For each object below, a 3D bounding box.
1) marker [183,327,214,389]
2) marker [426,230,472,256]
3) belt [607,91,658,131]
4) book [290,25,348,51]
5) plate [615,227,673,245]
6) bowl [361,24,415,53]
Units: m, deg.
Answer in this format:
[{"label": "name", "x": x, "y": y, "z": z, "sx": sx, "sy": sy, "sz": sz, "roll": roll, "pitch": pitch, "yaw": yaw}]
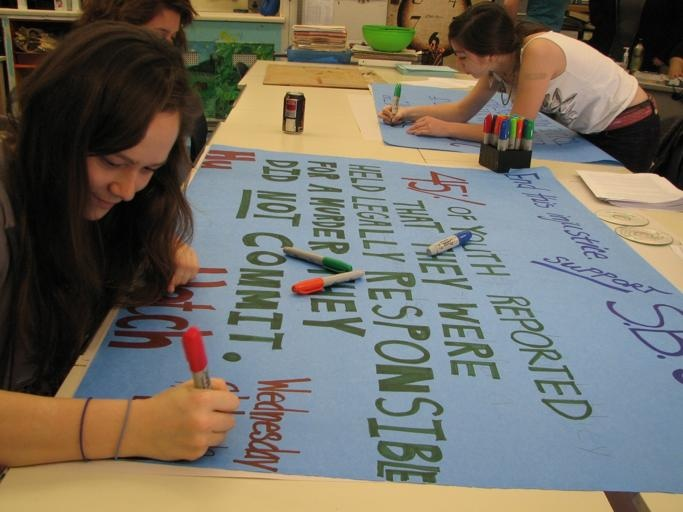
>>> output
[{"label": "marker", "x": -0.203, "y": 0.148, "z": 0.725, "sx": 0.046, "sy": 0.127, "sz": 0.027, "roll": -24, "pitch": 58, "yaw": -23}, {"label": "marker", "x": 0.270, "y": -0.033, "z": 1.267, "sx": 0.181, "sy": 0.042, "sz": 0.040, "roll": -19, "pitch": 4, "yaw": -39}, {"label": "belt", "x": 1.170, "y": -0.592, "z": 2.105, "sx": 0.196, "sy": 0.129, "sz": 0.133, "roll": 7, "pitch": 27, "yaw": 8}, {"label": "book", "x": -0.135, "y": -1.376, "z": 3.261, "sx": 0.319, "sy": 0.145, "sz": 0.166, "roll": 6, "pitch": 28, "yaw": 3}, {"label": "plate", "x": 0.776, "y": -0.050, "z": 1.318, "sx": 0.076, "sy": 0.004, "sz": 0.066, "roll": -9, "pitch": 24, "yaw": -16}, {"label": "bowl", "x": 0.314, "y": -1.408, "z": 3.393, "sx": 0.271, "sy": 0.096, "sz": 0.254, "roll": 5, "pitch": 27, "yaw": -3}]
